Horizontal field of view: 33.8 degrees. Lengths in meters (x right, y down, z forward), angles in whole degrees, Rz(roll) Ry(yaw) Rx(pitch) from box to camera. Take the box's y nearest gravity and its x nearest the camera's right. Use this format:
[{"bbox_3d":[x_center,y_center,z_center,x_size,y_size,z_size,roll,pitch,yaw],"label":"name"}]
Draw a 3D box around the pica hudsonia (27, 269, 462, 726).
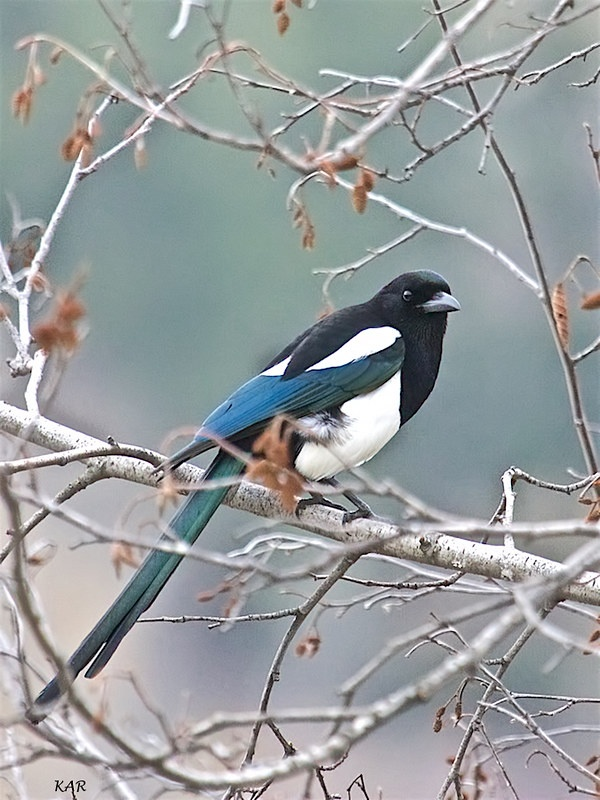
[{"bbox_3d":[-0.001,0.277,3.204,1.247,2.299,0.565,-4,-61,3],"label":"pica hudsonia"}]
